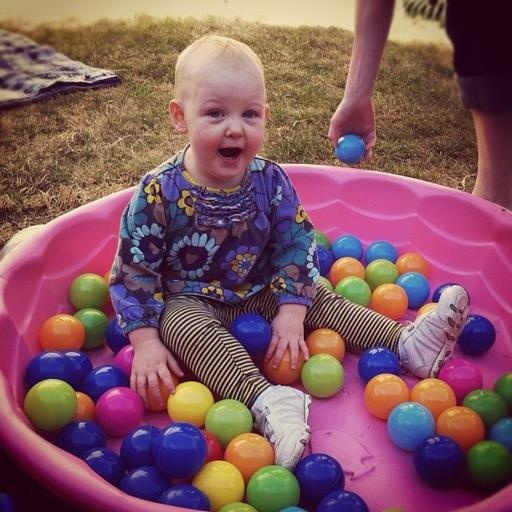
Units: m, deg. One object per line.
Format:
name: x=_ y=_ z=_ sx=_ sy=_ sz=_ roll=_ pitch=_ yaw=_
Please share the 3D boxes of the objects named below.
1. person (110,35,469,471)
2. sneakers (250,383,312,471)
person: x=0.024 y=-0.076 z=1.646 sx=1.019 sy=0.968 sz=0.834 roll=12 pitch=19 yaw=30
sneakers: x=0.064 y=0.428 z=1.569 sx=0.108 sy=0.088 sz=0.249 roll=-24 pitch=27 yaw=2
